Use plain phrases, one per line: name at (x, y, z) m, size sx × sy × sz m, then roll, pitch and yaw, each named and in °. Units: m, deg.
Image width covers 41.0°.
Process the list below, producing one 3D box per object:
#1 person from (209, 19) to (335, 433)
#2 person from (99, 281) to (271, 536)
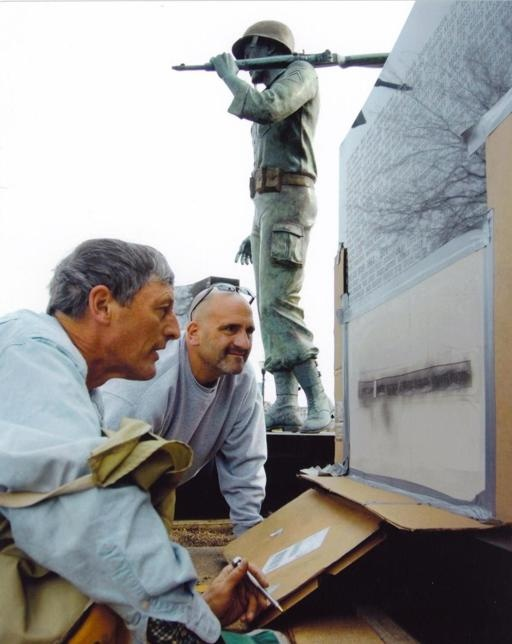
person at (0.052, -0.528, 3.475) m, size 0.631 × 2.090 × 0.818 m, roll 0°, pitch -8°, yaw 0°
person at (-0.237, 0.323, 2.391) m, size 0.639 × 0.883 × 0.532 m, roll 0°, pitch 12°, yaw -44°
